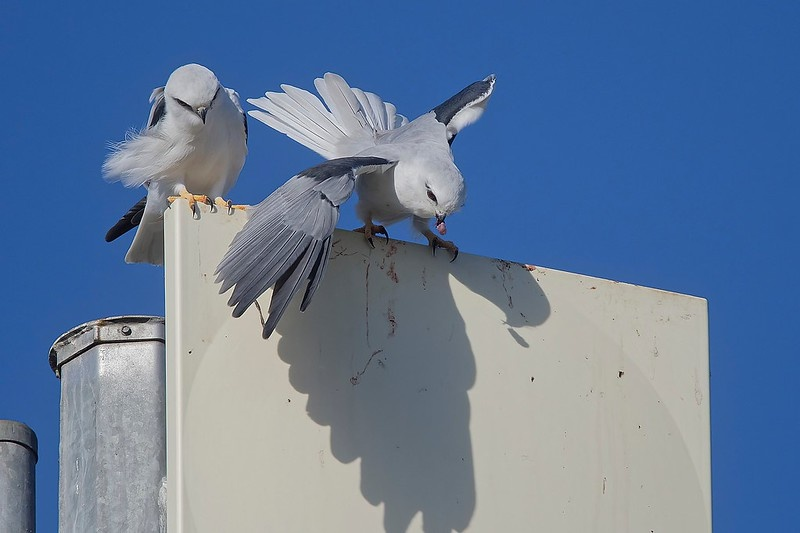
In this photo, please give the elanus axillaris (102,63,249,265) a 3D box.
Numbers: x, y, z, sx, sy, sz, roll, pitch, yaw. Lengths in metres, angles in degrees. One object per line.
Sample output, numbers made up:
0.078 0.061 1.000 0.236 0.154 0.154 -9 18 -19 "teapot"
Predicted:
-1.172 -0.623 11.708 0.682 0.679 1.409 -4 -8 -19 "elanus axillaris"
